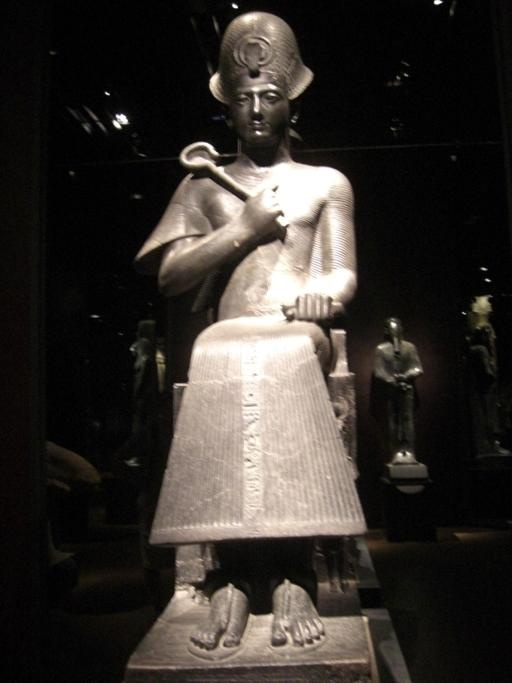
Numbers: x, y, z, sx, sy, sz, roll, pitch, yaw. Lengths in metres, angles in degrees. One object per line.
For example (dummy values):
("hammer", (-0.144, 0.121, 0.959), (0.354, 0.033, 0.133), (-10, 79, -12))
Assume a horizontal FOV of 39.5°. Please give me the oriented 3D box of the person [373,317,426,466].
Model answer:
("person", (0.691, 0.240, 3.500), (0.246, 0.721, 0.434), (-1, 4, 7))
